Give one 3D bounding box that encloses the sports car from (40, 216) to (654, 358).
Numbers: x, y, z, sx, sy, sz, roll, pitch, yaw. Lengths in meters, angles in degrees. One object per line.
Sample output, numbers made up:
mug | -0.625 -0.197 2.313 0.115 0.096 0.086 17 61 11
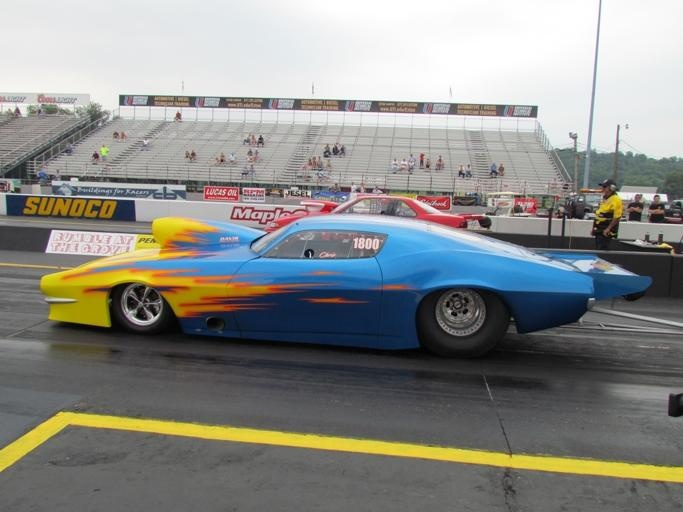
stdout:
sports car | -0.011 0.301 5.840 5.111 0.893 2.373 2 2 11
